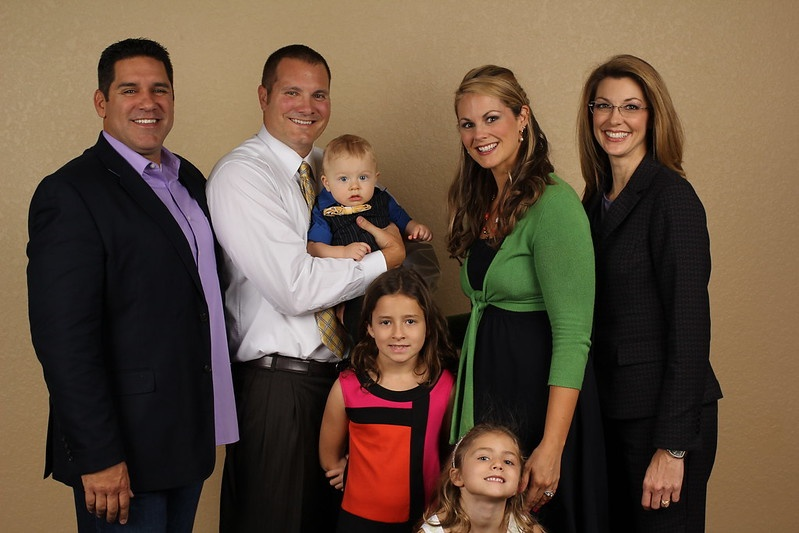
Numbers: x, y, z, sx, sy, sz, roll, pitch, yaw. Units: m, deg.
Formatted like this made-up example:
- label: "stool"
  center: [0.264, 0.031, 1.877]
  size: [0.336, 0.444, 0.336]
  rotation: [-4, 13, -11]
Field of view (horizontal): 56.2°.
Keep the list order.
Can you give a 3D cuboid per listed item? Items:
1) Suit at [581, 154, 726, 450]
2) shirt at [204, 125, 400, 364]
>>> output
- label: "Suit"
  center: [1.048, 0.137, 3.173]
  size: [0.282, 1.214, 0.428]
  rotation: [-5, 3, -37]
- label: "shirt"
  center: [-0.481, 0.042, 3.804]
  size: [0.810, 1.303, 0.859]
  rotation: [4, 14, 22]
